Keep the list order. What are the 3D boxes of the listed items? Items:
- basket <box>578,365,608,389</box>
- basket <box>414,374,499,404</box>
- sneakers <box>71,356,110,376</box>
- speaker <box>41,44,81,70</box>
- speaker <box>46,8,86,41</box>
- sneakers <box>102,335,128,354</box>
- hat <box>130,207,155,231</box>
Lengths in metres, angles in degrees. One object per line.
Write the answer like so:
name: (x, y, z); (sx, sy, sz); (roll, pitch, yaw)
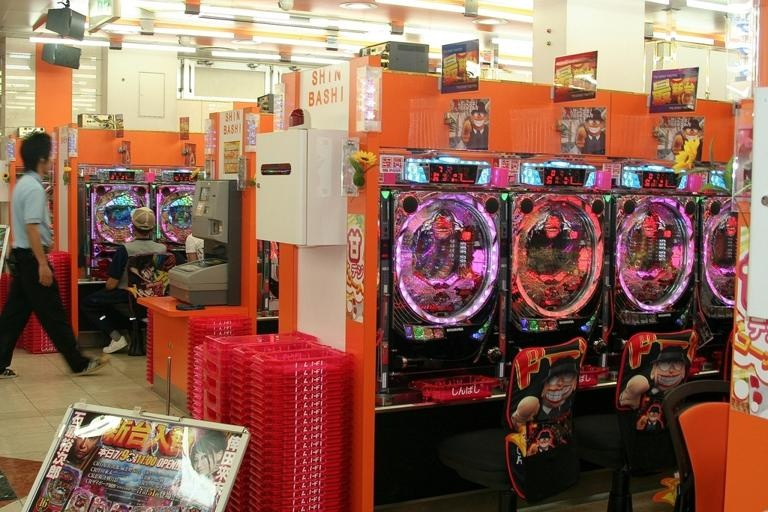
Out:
basket: (1.654, 0.938, 4.900); (0.268, 0.111, 0.212); (1, 1, 3)
basket: (0.523, 0.907, 4.441); (0.484, 0.114, 0.228); (-2, 3, -28)
sneakers: (-3.712, 1.387, 7.693); (0.577, 0.179, 0.218); (-9, 1, 35)
speaker: (-5.763, -3.589, 11.095); (0.519, 0.315, 0.499); (3, 6, -24)
speaker: (-4.568, -3.342, 8.973); (0.466, 0.517, 0.656); (3, 3, -36)
sneakers: (-3.779, 1.292, 8.757); (0.198, 0.181, 0.462); (35, -35, -26)
hat: (-3.255, -0.536, 8.385); (0.259, 0.378, 0.190); (5, -39, -26)
